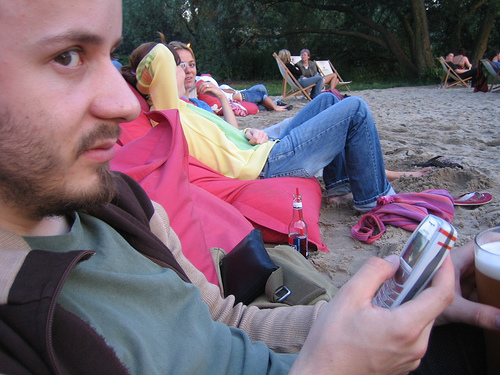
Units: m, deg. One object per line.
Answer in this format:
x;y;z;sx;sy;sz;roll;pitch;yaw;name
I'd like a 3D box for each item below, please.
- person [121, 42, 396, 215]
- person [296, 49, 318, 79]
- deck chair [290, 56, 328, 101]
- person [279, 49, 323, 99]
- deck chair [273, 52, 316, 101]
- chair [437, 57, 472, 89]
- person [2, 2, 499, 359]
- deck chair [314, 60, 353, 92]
0.176;-0.548;3.883;2.241;1.615;1.186;-8;12;-9;person
1.519;-3.307;12.100;0.572;0.877;0.461;-3;1;12;person
1.480;-3.066;12.113;1.035;1.664;1.058;0;22;3;deck chair
1.169;-2.797;11.447;1.122;1.238;0.829;1;10;1;person
1.124;-2.786;11.426;1.079;1.237;0.805;0;7;-1;deck chair
5.976;-3.357;13.009;0.833;0.906;0.602;6;9;29;chair
0.128;0.014;1.817;1.838;1.208;0.970;-2;8;-7;person
2.328;-3.166;12.707;0.740;0.938;1.010;-9;17;-25;deck chair
